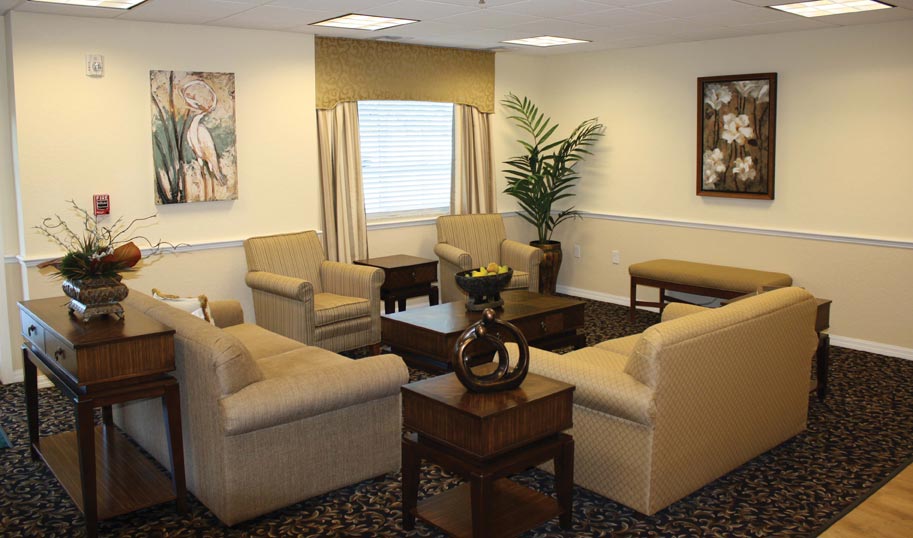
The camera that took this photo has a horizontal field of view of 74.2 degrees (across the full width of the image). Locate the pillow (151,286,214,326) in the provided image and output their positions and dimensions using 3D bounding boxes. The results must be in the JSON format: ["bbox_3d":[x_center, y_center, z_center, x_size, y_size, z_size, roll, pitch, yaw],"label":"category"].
[{"bbox_3d":[-2.323,0.260,5.085,0.560,0.183,0.504,21,18,38],"label":"pillow"}]

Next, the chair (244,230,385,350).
[{"bbox_3d":[-1.600,0.304,6.741,1.227,1.219,1.145,12,16,38],"label":"chair"}]

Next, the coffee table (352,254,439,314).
[{"bbox_3d":[-0.718,0.077,7.542,0.811,0.768,0.812,-10,14,-41],"label":"coffee table"}]

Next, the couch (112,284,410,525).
[{"bbox_3d":[-1.935,0.861,5.236,2.907,1.204,1.670,10,10,36],"label":"couch"}]

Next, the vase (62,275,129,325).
[{"bbox_3d":[-2.588,0.225,4.435,0.325,0.260,0.442,-3,-2,-34],"label":"vase"}]

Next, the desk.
[{"bbox_3d":[-2.487,1.073,4.307,0.658,1.160,1.538,-6,12,-33],"label":"desk"}]

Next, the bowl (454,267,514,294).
[{"bbox_3d":[0.278,0.144,6.022,0.364,0.137,0.350,-2,3,0],"label":"bowl"}]

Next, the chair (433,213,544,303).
[{"bbox_3d":[0.371,-0.023,7.888,1.200,1.217,1.016,-5,15,-17],"label":"chair"}]

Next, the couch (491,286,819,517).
[{"bbox_3d":[1.795,0.837,5.258,2.758,1.273,1.493,-7,10,-40],"label":"couch"}]
